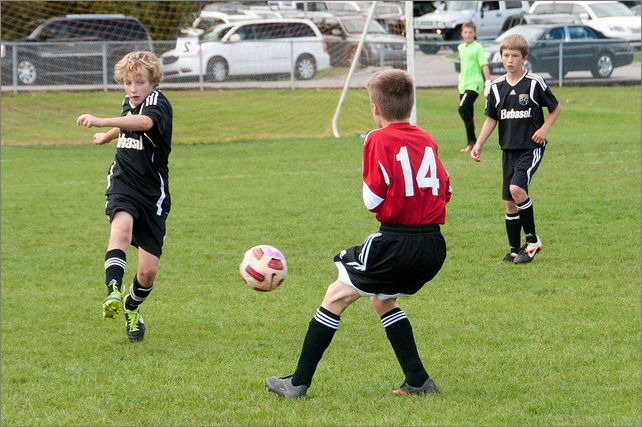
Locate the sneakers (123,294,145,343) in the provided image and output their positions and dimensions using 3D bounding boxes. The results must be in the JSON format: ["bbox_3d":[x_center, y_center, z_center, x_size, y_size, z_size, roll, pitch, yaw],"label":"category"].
[{"bbox_3d":[-2.019,1.153,8.671,0.149,0.427,0.185,-10,0,-9],"label":"sneakers"}]

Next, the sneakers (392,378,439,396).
[{"bbox_3d":[0.939,1.711,7.940,0.448,0.171,0.164,2,-3,0],"label":"sneakers"}]

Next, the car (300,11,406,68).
[{"bbox_3d":[0.772,-3.637,17.020,1.771,1.141,2.406,0,12,-3],"label":"car"}]

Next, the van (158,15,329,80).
[{"bbox_3d":[-1.690,-3.513,17.564,3.668,1.213,1.762,0,13,2],"label":"van"}]

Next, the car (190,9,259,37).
[{"bbox_3d":[-2.576,-4.823,20.480,1.788,0.741,1.315,-2,12,3],"label":"car"}]

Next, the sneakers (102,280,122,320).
[{"bbox_3d":[-2.056,0.863,7.912,0.154,0.430,0.227,1,55,-11],"label":"sneakers"}]

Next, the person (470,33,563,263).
[{"bbox_3d":[2.483,-0.819,10.134,0.967,2.805,0.681,4,12,17],"label":"person"}]

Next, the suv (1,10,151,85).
[{"bbox_3d":[-5.870,-4.292,20.120,3.842,1.771,2.191,-1,6,-13],"label":"suv"}]

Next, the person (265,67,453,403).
[{"bbox_3d":[0.537,0.202,7.772,1.422,3.095,0.682,1,12,3],"label":"person"}]
